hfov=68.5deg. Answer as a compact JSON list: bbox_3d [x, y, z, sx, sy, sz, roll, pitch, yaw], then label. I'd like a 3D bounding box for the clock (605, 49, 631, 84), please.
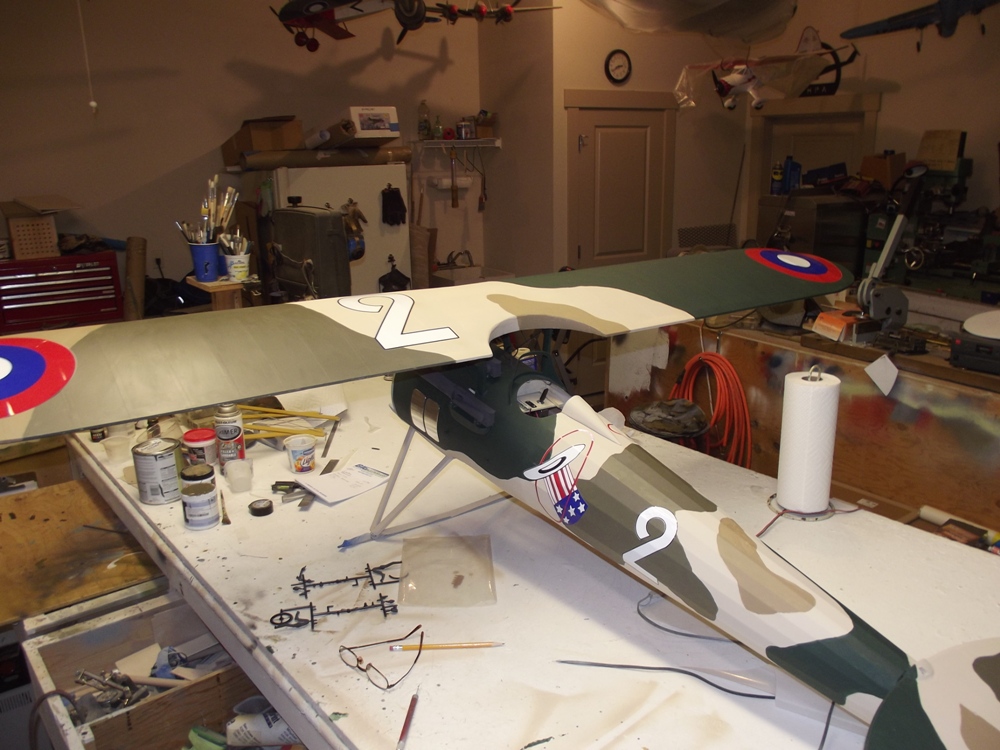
[{"bbox_3d":[0.902,-2.334,5.611,0.305,0.264,0.025,-17,23,-36],"label":"clock"}]

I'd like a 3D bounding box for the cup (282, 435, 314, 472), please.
[{"bbox_3d":[-0.627,0.241,2.311,0.100,0.080,0.103,1,14,0],"label":"cup"}]

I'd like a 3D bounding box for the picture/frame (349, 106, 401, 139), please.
[{"bbox_3d":[-0.836,-1.652,4.847,0.389,0.254,0.033,-4,-10,-31],"label":"picture/frame"}]

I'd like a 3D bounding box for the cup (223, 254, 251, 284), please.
[{"bbox_3d":[-1.392,-0.549,3.913,0.146,0.156,0.146,0,2,0],"label":"cup"}]

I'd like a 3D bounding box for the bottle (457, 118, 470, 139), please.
[{"bbox_3d":[-0.279,-1.866,5.653,0.106,0.130,0.157,-4,18,-3],"label":"bottle"}]

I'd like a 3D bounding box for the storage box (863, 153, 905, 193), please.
[{"bbox_3d":[2.656,-1.404,5.087,0.276,0.231,0.294,7,21,27],"label":"storage box"}]

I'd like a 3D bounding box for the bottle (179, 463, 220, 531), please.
[{"bbox_3d":[-0.839,0.342,2.055,0.127,0.153,0.159,-2,10,-10],"label":"bottle"}]

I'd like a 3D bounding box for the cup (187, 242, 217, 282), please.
[{"bbox_3d":[-1.532,-0.589,3.839,0.179,0.182,0.179,0,5,0],"label":"cup"}]

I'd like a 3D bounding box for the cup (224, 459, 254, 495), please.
[{"bbox_3d":[-0.789,0.300,2.267,0.106,0.068,0.116,-6,7,-17],"label":"cup"}]

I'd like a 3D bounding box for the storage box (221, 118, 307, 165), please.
[{"bbox_3d":[-1.528,-1.491,4.749,0.418,0.300,0.618,-11,20,-24],"label":"storage box"}]
